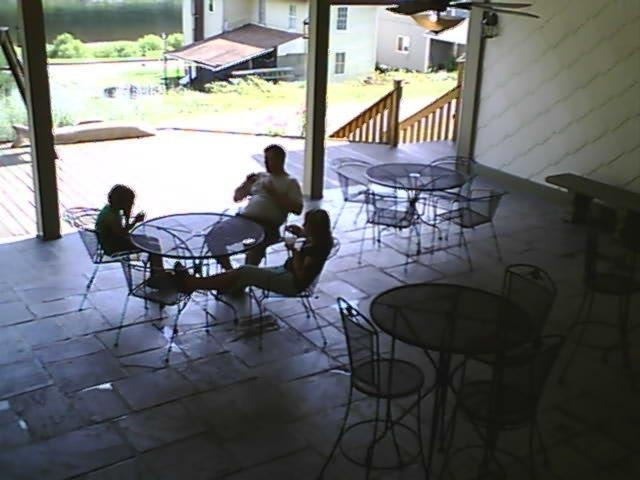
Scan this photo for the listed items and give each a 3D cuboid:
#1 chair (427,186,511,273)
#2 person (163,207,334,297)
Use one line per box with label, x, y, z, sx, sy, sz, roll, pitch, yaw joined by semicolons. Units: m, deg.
chair;1.899;-0.105;7.292;0.775;0.932;0.713;-22;47;-24
person;-0.587;0.126;5.192;1.373;0.988;0.447;0;29;-1
